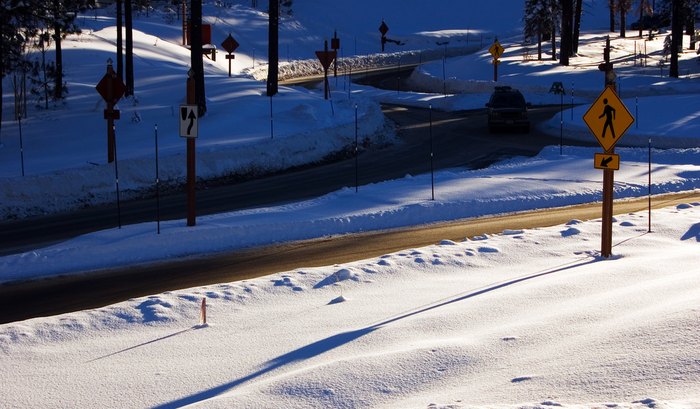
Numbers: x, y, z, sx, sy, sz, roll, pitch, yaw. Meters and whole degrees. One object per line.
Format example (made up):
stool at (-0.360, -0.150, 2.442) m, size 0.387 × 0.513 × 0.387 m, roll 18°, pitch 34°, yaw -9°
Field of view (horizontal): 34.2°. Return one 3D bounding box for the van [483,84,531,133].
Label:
van at (10.782, -6.663, 78.324) m, size 2.157 × 2.152 × 3.909 m, roll 0°, pitch 4°, yaw 4°
